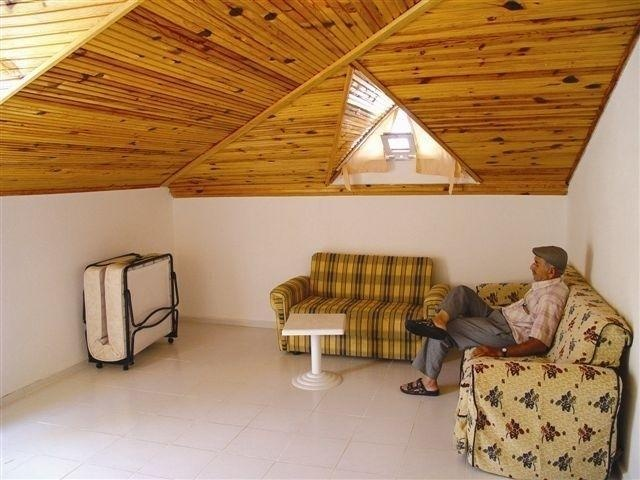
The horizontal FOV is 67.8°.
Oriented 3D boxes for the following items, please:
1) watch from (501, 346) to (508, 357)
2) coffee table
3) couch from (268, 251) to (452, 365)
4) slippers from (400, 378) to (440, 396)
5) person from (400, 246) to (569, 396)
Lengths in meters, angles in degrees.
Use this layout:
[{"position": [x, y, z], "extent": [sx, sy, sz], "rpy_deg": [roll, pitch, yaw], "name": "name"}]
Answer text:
[{"position": [1.277, 0.779, 3.325], "extent": [0.044, 0.052, 0.057], "rpy_deg": [4, 37, 18], "name": "watch"}, {"position": [-0.036, 0.950, 4.208], "extent": [0.513, 0.534, 0.614], "rpy_deg": [-1, 9, 3], "name": "coffee table"}, {"position": [0.410, 0.637, 4.716], "extent": [1.698, 0.762, 0.734], "rpy_deg": [1, 16, 22], "name": "couch"}, {"position": [0.794, 1.207, 3.898], "extent": [0.278, 0.091, 0.129], "rpy_deg": [1, 2, 13], "name": "slippers"}, {"position": [1.260, 0.640, 3.769], "extent": [1.271, 1.146, 0.753], "rpy_deg": [1, 6, 15], "name": "person"}]
